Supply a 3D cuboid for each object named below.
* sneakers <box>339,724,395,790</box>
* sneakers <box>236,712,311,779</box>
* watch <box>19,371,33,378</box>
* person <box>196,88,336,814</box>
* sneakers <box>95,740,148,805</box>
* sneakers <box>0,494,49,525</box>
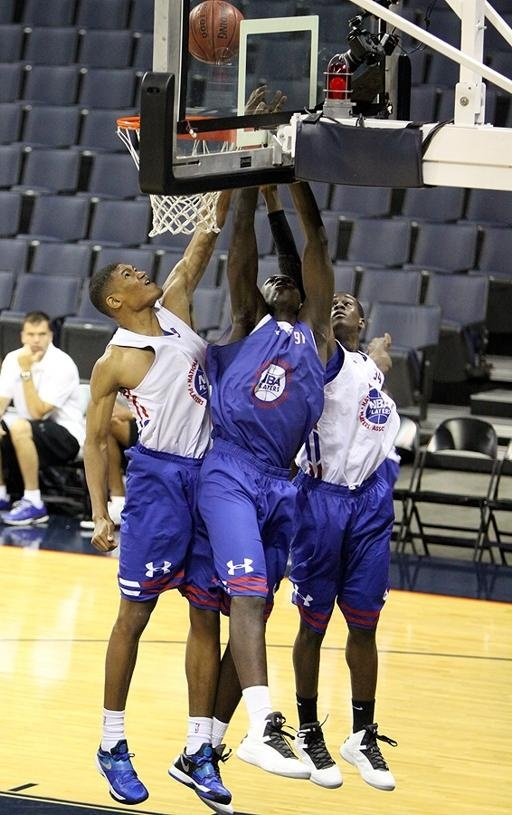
[{"bbox_3d":[0.363,1.090,2.388,0.085,0.146,0.240,17,-2,-29],"label":"sneakers"},{"bbox_3d":[0.042,0.689,1.548,0.177,0.111,0.063,-6,-29,46],"label":"sneakers"},{"bbox_3d":[-1.588,-0.219,5.226,0.069,0.057,0.037,0,6,-18],"label":"watch"},{"bbox_3d":[0.000,0.063,1.905,0.358,1.333,0.828,2,6,5],"label":"person"},{"bbox_3d":[-0.382,1.062,2.149,0.144,0.230,0.148,1,6,-10],"label":"sneakers"},{"bbox_3d":[-1.574,0.726,5.252,0.368,0.178,0.137,1,1,-34],"label":"sneakers"}]
